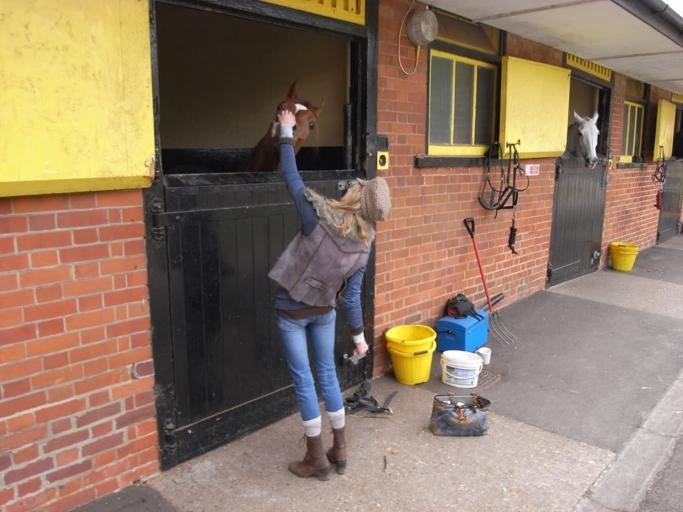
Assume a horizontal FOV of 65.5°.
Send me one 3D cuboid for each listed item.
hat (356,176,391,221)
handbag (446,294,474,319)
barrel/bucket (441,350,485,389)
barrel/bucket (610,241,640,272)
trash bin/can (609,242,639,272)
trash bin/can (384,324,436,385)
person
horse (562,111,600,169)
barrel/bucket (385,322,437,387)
[{"bbox_3d":[0.205,-0.353,3.418,0.194,0.293,0.190,2,14,7],"label":"hat"},{"bbox_3d":[1.301,0.543,5.797,0.228,0.113,0.244,12,19,35],"label":"handbag"},{"bbox_3d":[1.122,1.059,5.038,0.412,0.295,0.423,2,10,0],"label":"barrel/bucket"},{"bbox_3d":[4.985,0.006,9.425,0.485,0.473,0.478,9,3,0],"label":"barrel/bucket"},{"bbox_3d":[4.984,0.013,9.427,0.472,0.476,0.489,9,3,42],"label":"trash bin/can"},{"bbox_3d":[0.635,0.914,4.986,0.455,0.458,0.515,1,8,10],"label":"trash bin/can"},{"bbox_3d":[-0.108,0.356,3.586,0.748,2.373,0.377,-2,13,-10],"label":"person"},{"bbox_3d":[3.710,-1.798,8.142,0.486,0.814,1.135,7,16,24],"label":"horse"},{"bbox_3d":[0.669,0.947,5.133,0.493,0.492,0.535,-3,11,1],"label":"barrel/bucket"}]
